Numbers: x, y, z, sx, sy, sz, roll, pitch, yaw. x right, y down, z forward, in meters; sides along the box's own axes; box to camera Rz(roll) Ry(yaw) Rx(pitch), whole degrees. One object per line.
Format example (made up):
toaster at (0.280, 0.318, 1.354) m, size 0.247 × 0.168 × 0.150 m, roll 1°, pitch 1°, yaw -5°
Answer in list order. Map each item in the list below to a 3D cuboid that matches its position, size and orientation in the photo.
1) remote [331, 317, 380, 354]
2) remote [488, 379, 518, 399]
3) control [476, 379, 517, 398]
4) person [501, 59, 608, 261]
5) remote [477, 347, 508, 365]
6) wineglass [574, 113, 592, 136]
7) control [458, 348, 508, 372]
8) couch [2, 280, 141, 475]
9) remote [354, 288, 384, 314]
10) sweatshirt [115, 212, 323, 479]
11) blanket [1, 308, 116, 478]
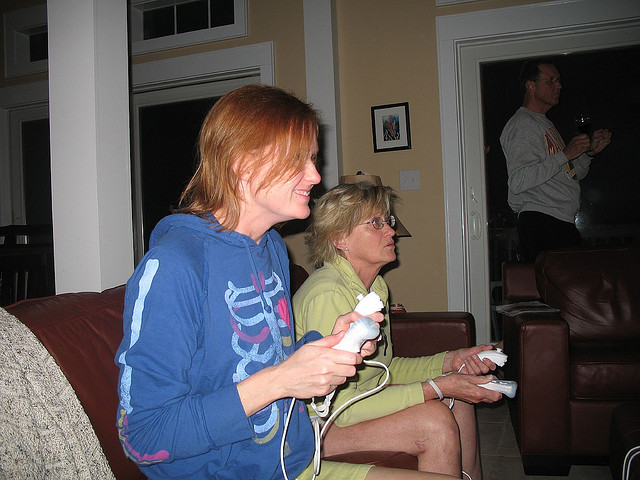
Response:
remote at (0.121, 0.272, 1.555) m, size 0.181 × 0.103 × 0.080 m, roll 4°, pitch -45°, yaw 1°
remote at (0.671, 0.544, 1.942) m, size 0.088 × 0.047 × 0.058 m, roll 14°, pitch 31°, yaw 32°
control at (0.653, 0.543, 1.962) m, size 0.138 × 0.061 × 0.053 m, roll 1°, pitch -5°, yaw 25°
person at (1.647, -0.581, 3.759) m, size 0.640 × 1.497 × 0.215 m, roll -4°, pitch -1°, yaw 31°
remote at (0.688, 0.459, 2.120) m, size 0.103 × 0.058 × 0.057 m, roll -3°, pitch 2°, yaw 37°
wineglass at (1.704, -0.759, 3.421) m, size 0.081 × 0.141 × 0.205 m, roll -4°, pitch 0°, yaw 31°
control at (0.662, 0.487, 2.151) m, size 0.078 × 0.046 × 0.195 m, roll -51°, pitch 11°, yaw -23°
couch at (-0.766, 0.456, 1.648) m, size 0.357 × 0.509 × 0.330 m, roll -4°, pitch -1°, yaw -23°
remote at (0.159, 0.201, 1.703) m, size 0.083 × 0.081 × 0.032 m, roll -5°, pitch -9°, yaw -3°
sweatshirt at (-0.310, 0.332, 1.593) m, size 0.573 × 0.749 × 0.332 m, roll -4°, pitch 0°, yaw -24°
blanket at (-0.757, 0.450, 1.490) m, size 0.103 × 0.443 × 0.306 m, roll -20°, pitch -15°, yaw 17°
